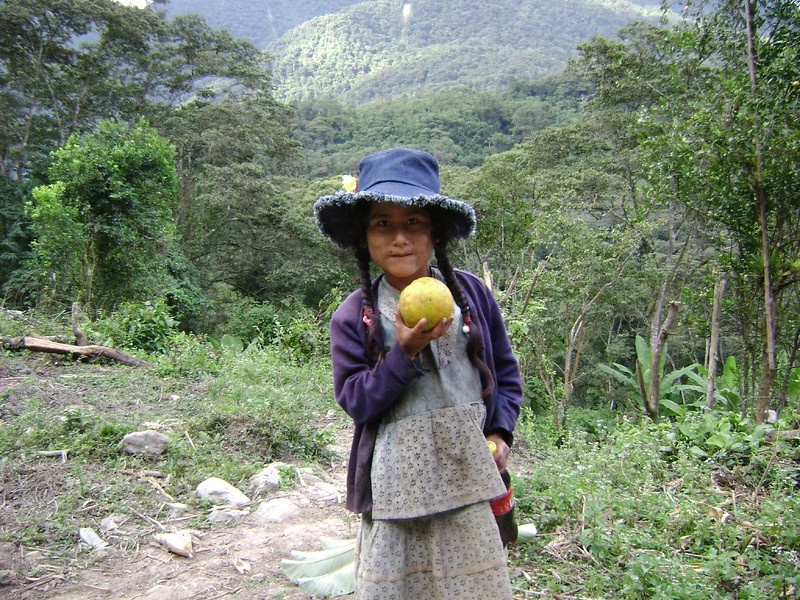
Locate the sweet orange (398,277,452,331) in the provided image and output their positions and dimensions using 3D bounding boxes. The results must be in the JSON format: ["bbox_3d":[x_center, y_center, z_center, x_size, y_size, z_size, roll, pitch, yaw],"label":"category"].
[{"bbox_3d":[0.144,-0.018,2.757,0.234,0.231,0.226,14,8,10],"label":"sweet orange"}]

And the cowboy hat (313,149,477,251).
[{"bbox_3d":[-0.045,-0.541,3.039,0.561,0.300,0.574,2,2,9],"label":"cowboy hat"}]
